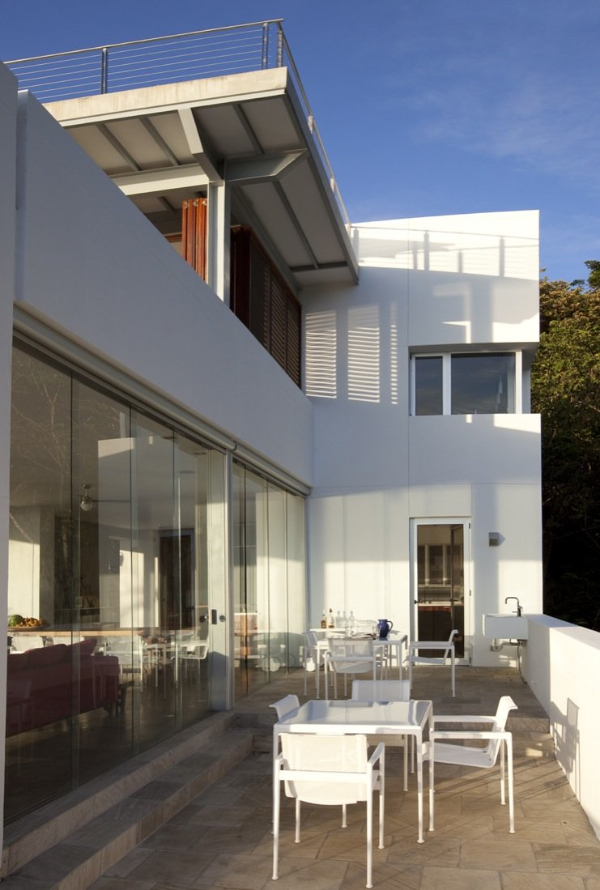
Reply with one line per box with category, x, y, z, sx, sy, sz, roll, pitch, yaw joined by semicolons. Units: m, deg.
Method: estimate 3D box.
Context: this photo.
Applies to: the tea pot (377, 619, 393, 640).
tea pot;0.926;2.109;9.772;0.224;0.272;0.174;0;-8;19
